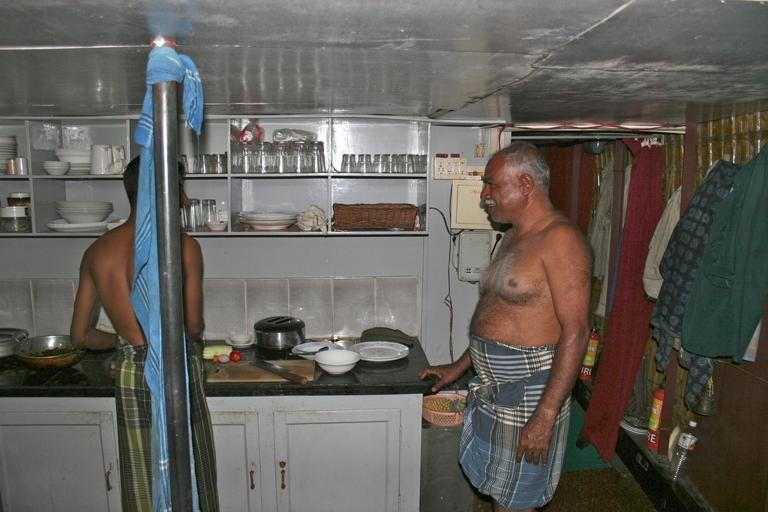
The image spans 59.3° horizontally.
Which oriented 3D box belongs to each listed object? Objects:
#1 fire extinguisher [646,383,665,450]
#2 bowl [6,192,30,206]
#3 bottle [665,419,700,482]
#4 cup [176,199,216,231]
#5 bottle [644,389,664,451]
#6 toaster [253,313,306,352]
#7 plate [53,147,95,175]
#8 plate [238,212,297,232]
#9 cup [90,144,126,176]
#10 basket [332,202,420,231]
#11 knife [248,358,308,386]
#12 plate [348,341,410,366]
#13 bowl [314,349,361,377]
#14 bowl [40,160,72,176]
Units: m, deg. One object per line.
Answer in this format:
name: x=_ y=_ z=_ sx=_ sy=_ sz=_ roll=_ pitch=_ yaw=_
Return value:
fire extinguisher: x=1.972 y=1.176 z=4.858 sx=0.107 sy=0.458 sz=0.156 roll=2 pitch=6 yaw=22
bowl: x=-2.501 y=-0.386 z=4.624 sx=0.129 sy=0.081 sz=0.117 roll=-3 pitch=-4 yaw=23
bottle: x=2.073 y=1.315 z=4.641 sx=0.177 sy=0.447 sz=0.253 roll=2 pitch=6 yaw=22
cup: x=-1.276 y=-0.279 z=4.659 sx=0.301 sy=0.250 sz=0.156 roll=-1 pitch=5 yaw=-11
bottle: x=1.972 y=1.176 z=4.858 sx=0.107 sy=0.459 sz=0.156 roll=2 pitch=6 yaw=22
toaster: x=-0.731 y=0.524 z=4.748 sx=0.368 sy=0.156 sz=0.364 roll=7 pitch=15 yaw=28
plate: x=-2.100 y=-0.652 z=4.579 sx=0.216 sy=0.133 sz=0.202 roll=0 pitch=5 yaw=-17
plate: x=-0.787 y=-0.238 z=4.626 sx=0.387 sy=0.132 sz=0.170 roll=-1 pitch=5 yaw=-9
cup: x=-1.891 y=-0.655 z=4.520 sx=0.159 sy=0.195 sz=0.293 roll=2 pitch=2 yaw=37
basket: x=-0.051 y=-0.263 z=4.633 sx=0.422 sy=0.130 sz=0.243 roll=-1 pitch=4 yaw=-5
knife: x=-0.633 y=0.719 z=4.180 sx=0.130 sy=0.035 sz=0.476 roll=-2 pitch=5 yaw=-41
plate: x=-0.024 y=0.646 z=4.498 sx=0.385 sy=0.091 sz=0.396 roll=-1 pitch=5 yaw=-3
bowl: x=-0.289 y=0.670 z=4.273 sx=0.281 sy=0.133 sz=0.227 roll=-1 pitch=5 yaw=-4
bowl: x=-2.194 y=-0.591 z=4.538 sx=0.132 sy=0.063 sz=0.126 roll=-2 pitch=-4 yaw=0
